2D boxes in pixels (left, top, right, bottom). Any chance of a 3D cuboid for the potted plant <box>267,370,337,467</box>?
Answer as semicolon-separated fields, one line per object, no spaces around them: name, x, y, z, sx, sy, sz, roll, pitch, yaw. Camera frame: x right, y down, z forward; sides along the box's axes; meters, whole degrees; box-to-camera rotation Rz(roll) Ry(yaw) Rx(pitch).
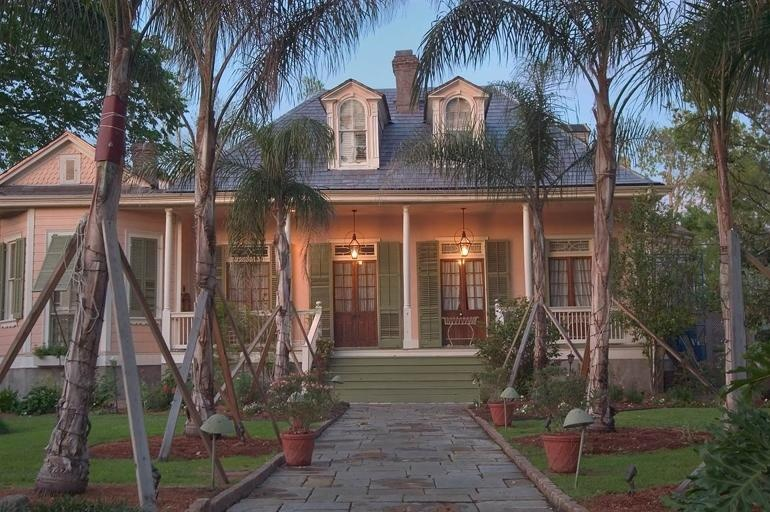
potted plant;-1.659;3.113;14.460;1.258;1.738;1.175;0;-13;-3

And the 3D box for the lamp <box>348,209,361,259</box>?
lamp;-1.066;-0.673;25.521;0.324;1.606;0.505;1;-3;10

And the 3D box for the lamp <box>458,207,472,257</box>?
lamp;2.692;-0.682;25.569;0.433;1.532;0.238;2;-3;2
